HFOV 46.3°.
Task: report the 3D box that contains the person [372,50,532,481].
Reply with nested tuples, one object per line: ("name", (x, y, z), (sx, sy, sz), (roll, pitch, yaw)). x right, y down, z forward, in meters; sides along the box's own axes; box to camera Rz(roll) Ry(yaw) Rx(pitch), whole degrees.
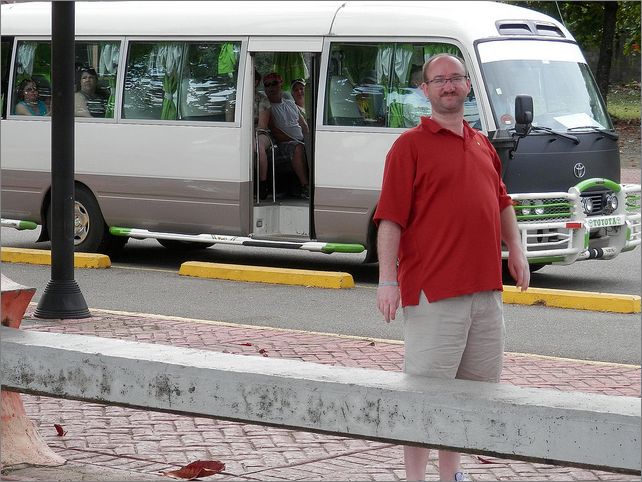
("person", (0.674, -0.107, 3.748), (0.854, 1.633, 0.439), (-6, 10, -21))

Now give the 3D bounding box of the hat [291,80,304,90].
("hat", (-0.379, -2.590, 12.505), (0.172, 0.125, 0.169), (-8, 13, -32))

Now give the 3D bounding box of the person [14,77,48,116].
("person", (-4.771, -2.336, 12.328), (0.617, 0.716, 0.589), (-3, 6, -32))
